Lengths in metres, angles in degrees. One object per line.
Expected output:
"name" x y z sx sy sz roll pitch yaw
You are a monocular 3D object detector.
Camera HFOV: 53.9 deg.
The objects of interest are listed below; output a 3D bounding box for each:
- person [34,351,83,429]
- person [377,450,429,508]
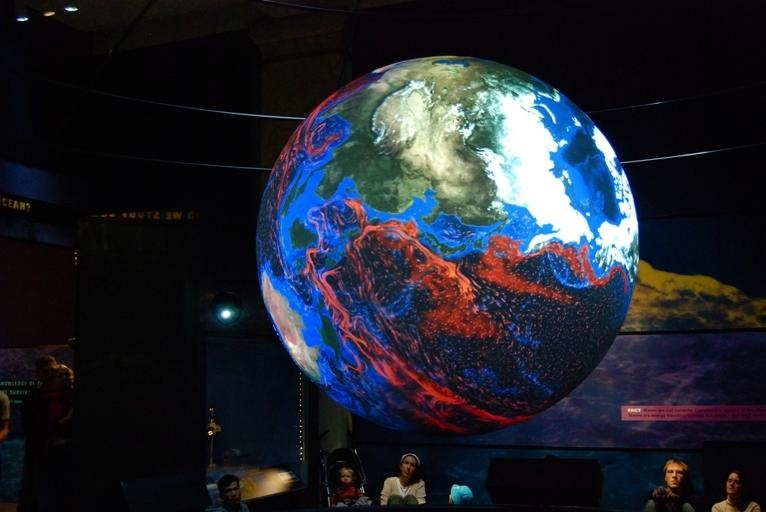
"person" -4.570 1.948 10.560 0.467 0.970 1.233 1 -2 -25
"person" 0.260 2.747 9.212 0.630 0.880 0.798 1 -25 7
